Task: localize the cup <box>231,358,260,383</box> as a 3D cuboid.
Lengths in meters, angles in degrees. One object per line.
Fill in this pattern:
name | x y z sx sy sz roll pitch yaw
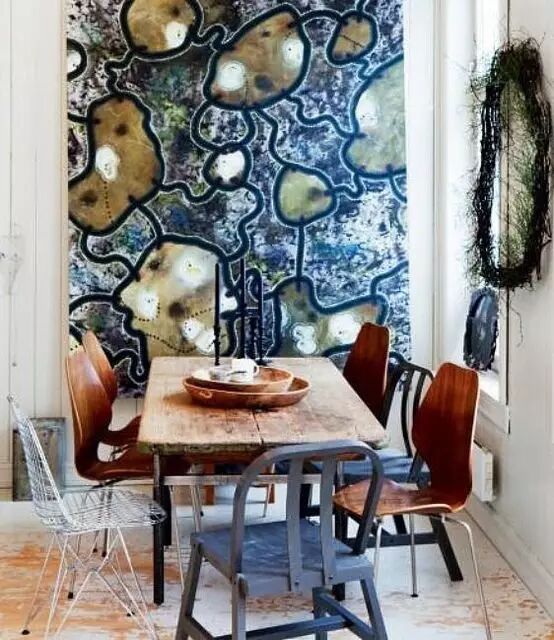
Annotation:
cup | -0.113 0.191 2.673 0.102 0.091 0.075 3 -4 -12
